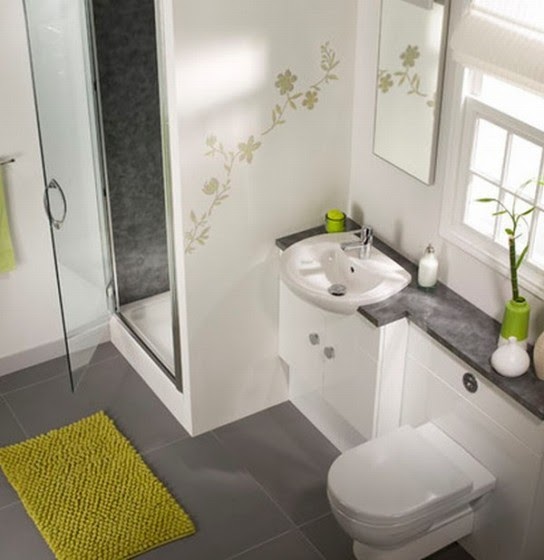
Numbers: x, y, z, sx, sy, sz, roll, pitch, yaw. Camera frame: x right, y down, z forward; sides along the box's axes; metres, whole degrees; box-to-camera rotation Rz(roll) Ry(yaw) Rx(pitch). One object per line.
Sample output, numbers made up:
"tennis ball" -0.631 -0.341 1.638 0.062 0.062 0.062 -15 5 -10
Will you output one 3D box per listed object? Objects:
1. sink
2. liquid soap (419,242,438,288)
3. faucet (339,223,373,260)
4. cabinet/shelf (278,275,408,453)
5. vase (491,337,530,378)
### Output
"sink" 0.272 -0.032 2.043 0.294 0.160 0.399 -20 39 -16
"liquid soap" 0.593 -0.069 1.950 0.058 0.172 0.062 9 30 22
"faucet" 0.346 -0.157 2.127 0.142 0.153 0.056 -23 40 -25
"cabinet/shelf" 0.298 0.329 2.078 0.277 0.601 0.563 -12 29 -25
"vase" 0.712 0.230 1.533 0.103 0.102 0.085 -16 33 -21
